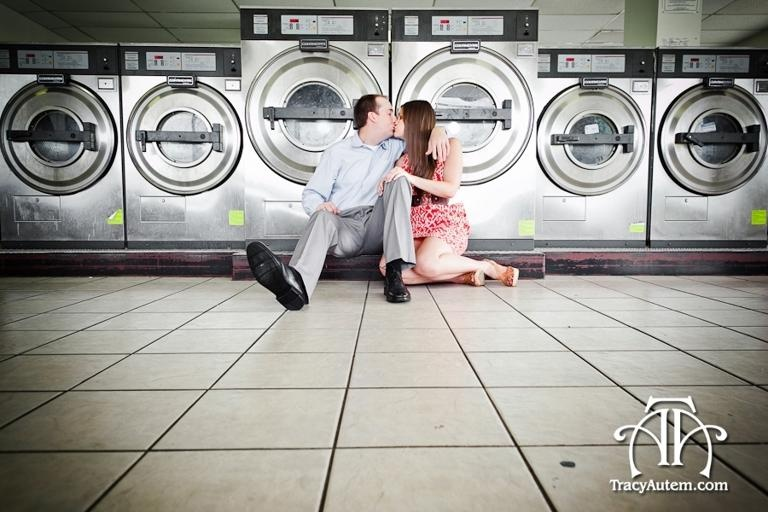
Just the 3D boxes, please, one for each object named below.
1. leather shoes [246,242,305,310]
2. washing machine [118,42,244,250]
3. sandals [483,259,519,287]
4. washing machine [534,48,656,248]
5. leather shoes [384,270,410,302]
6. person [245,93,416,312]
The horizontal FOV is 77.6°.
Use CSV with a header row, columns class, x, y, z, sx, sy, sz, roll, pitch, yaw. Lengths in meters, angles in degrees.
class,x,y,z,sx,sy,sz,roll,pitch,yaw
leather shoes,-0.571,0.122,2.515,0.122,0.345,0.150,-33,12,23
washing machine,-1.570,-0.843,3.745,0.924,1.549,0.301,0,12,-1
sandals,0.777,0.122,3.148,0.238,0.093,0.126,22,15,16
washing machine,1.653,-0.847,3.751,0.905,1.524,0.296,0,12,2
leather shoes,0.062,0.167,2.688,0.110,0.163,0.200,-5,13,-22
person,-0.183,-0.357,2.738,0.715,1.167,1.058,0,12,3
